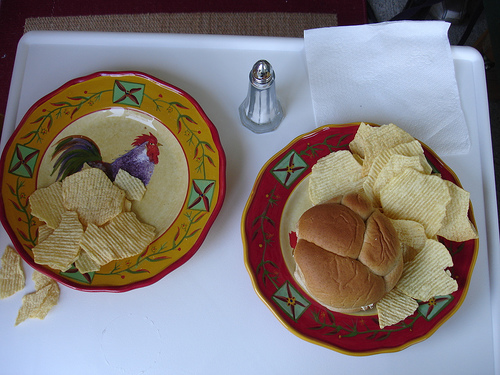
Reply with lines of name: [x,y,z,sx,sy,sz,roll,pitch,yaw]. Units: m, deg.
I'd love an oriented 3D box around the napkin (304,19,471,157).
napkin: [0.408,-0.290,1.380,0.459,0.068,0.430,-5,76,-1]
